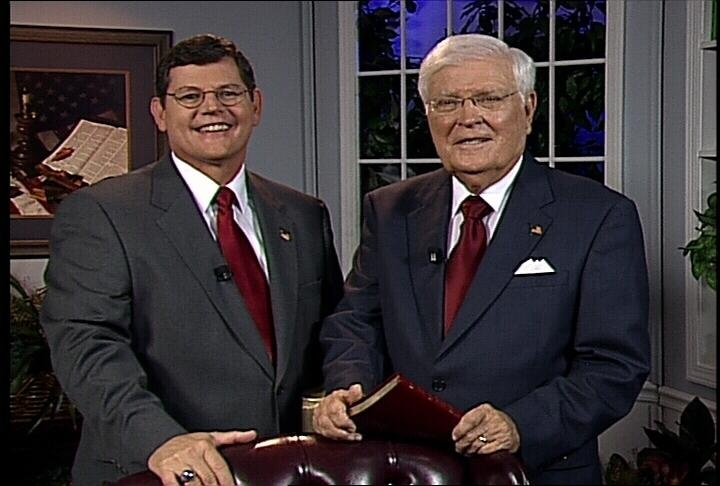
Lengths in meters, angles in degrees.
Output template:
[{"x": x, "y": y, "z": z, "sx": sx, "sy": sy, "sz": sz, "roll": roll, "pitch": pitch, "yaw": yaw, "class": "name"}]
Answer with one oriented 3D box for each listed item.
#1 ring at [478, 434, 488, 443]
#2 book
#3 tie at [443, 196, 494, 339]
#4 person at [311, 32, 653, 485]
[{"x": 0.416, "y": 0.659, "z": 2.511, "sx": 0.026, "sy": 0.028, "sz": 0.008, "roll": -6, "pitch": 4, "yaw": 33, "class": "ring"}, {"x": 0.149, "y": 0.565, "z": 2.497, "sx": 0.377, "sy": 0.263, "sz": 0.064, "roll": -1, "pitch": 5, "yaw": 8, "class": "book"}, {"x": 0.434, "y": 0.057, "z": 2.897, "sx": 0.136, "sy": 0.599, "sz": 0.078, "roll": 9, "pitch": -15, "yaw": 29, "class": "tie"}, {"x": 0.453, "y": 0.031, "z": 2.770, "sx": 1.146, "sy": 1.609, "sz": 0.536, "roll": 1, "pitch": 6, "yaw": 25, "class": "person"}]
